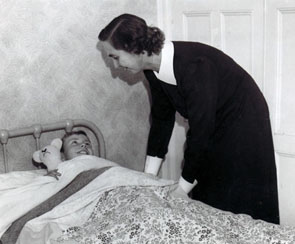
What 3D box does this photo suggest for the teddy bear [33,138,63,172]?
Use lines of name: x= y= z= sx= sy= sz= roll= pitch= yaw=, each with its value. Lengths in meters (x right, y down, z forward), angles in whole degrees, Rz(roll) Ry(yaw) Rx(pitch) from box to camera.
teddy bear: x=-0.484 y=0.171 z=1.979 sx=0.125 sy=0.214 sz=0.112 roll=-10 pitch=14 yaw=-41

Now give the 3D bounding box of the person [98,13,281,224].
person: x=0.244 y=0.015 z=2.093 sx=0.713 sy=1.254 sz=0.532 roll=-10 pitch=24 yaw=-5

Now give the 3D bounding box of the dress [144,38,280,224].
dress: x=0.308 y=0.043 z=2.089 sx=0.612 sy=1.116 sz=0.549 roll=-5 pitch=29 yaw=5
